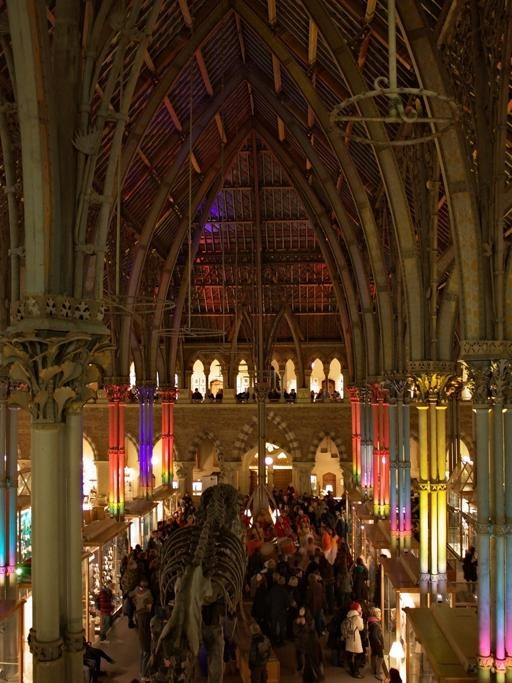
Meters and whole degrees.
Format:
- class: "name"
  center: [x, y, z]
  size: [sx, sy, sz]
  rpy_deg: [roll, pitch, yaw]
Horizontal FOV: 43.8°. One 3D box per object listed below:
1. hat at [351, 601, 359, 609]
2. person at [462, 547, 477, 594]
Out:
- class: "hat"
  center: [1.521, 3.961, 9.628]
  size: [0.089, 0.079, 0.096]
  rpy_deg: [27, -48, -19]
- class: "person"
  center: [4.529, 4.854, 13.409]
  size: [0.261, 0.912, 1.517]
  rpy_deg: [-5, -9, 17]
